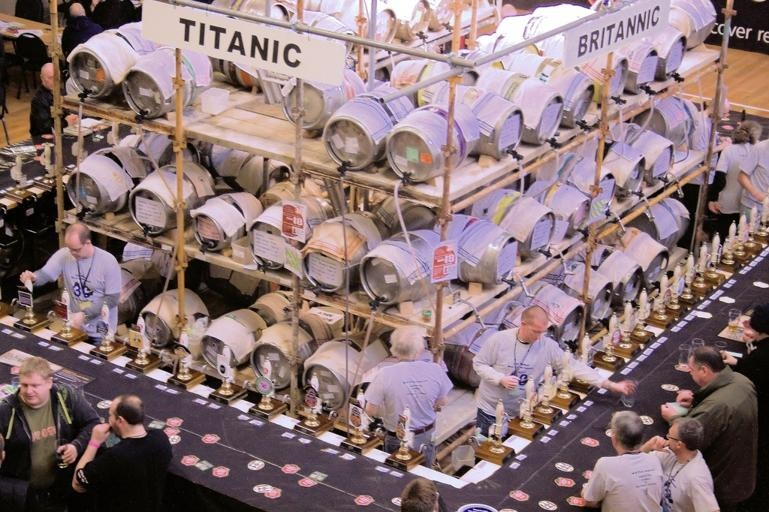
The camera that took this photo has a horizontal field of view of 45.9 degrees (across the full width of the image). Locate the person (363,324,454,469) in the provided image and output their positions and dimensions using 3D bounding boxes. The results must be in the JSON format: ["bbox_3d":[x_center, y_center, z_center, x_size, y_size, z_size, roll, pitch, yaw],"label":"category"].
[{"bbox_3d":[0.193,1.197,7.920,0.757,1.168,0.357,10,7,-7],"label":"person"}]

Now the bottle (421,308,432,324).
[{"bbox_3d":[0.377,0.538,8.255,0.104,0.096,0.104,0,19,2],"label":"bottle"}]

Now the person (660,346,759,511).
[{"bbox_3d":[2.752,1.505,7.668,0.633,1.534,0.648,22,51,38],"label":"person"}]

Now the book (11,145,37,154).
[{"bbox_3d":[-4.543,-1.335,11.442,0.206,0.050,0.205,13,21,22],"label":"book"}]

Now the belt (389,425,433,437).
[{"bbox_3d":[0.208,1.502,7.854,0.175,0.041,0.176,-1,7,34],"label":"belt"}]

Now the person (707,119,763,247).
[{"bbox_3d":[4.494,-0.896,11.652,0.495,0.601,1.694,32,-18,25],"label":"person"}]

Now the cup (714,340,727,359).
[{"bbox_3d":[3.188,0.892,8.640,0.083,0.130,0.082,-22,24,10],"label":"cup"}]

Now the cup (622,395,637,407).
[{"bbox_3d":[2.229,1.323,8.334,0.130,0.087,0.088,12,7,9],"label":"cup"}]

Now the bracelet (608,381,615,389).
[{"bbox_3d":[2.075,1.179,8.328,0.050,0.053,0.046,-3,9,20],"label":"bracelet"}]
